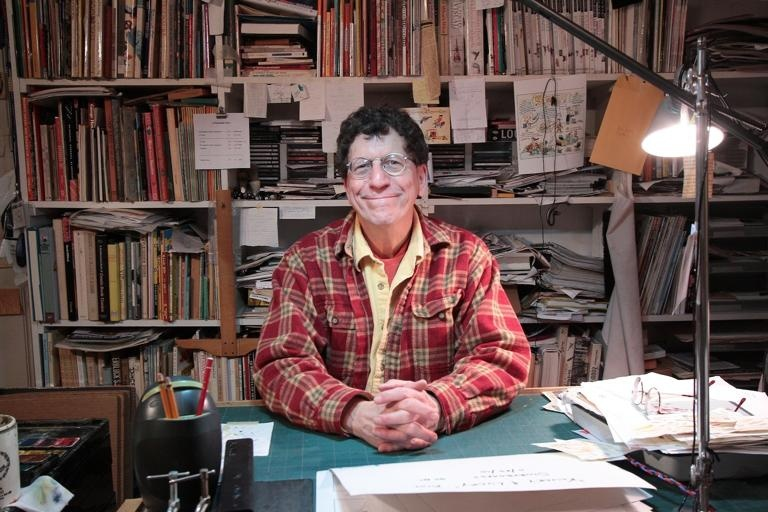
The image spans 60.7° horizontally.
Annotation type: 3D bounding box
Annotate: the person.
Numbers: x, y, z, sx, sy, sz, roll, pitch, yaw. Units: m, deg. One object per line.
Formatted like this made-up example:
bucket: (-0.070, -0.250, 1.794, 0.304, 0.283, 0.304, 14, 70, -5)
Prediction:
person: (0.031, 0.108, 2.189, 0.875, 1.087, 0.837, 13, 22, 40)

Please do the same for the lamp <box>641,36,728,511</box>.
lamp: (0.764, 0.056, 1.606, 0.120, 1.152, 0.297, -1, 6, 24)
